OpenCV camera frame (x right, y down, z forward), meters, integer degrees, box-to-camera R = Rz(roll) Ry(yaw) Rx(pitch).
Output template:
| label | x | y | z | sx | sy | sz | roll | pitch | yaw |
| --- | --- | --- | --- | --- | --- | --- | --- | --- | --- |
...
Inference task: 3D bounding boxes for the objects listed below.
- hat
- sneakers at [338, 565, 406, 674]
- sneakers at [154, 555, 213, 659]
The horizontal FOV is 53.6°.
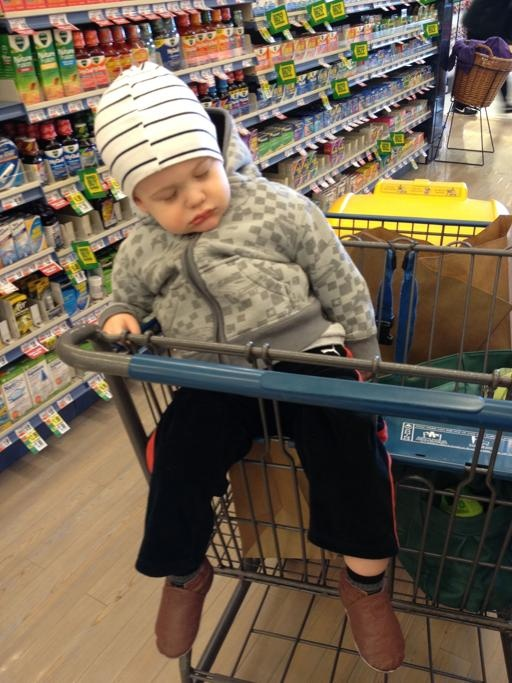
| label | x | y | z | sx | sy | sz | roll | pitch | yaw |
| --- | --- | --- | --- | --- | --- | --- | --- | --- | --- |
| hat | -0.202 | -0.403 | 1.007 | 0.206 | 0.217 | 0.262 | -31 | 30 | 5 |
| sneakers | 0.185 | 0.484 | 0.907 | 0.080 | 0.082 | 0.206 | -11 | 48 | -2 |
| sneakers | -0.138 | 0.512 | 1.005 | 0.090 | 0.189 | 0.080 | 11 | -2 | 27 |
